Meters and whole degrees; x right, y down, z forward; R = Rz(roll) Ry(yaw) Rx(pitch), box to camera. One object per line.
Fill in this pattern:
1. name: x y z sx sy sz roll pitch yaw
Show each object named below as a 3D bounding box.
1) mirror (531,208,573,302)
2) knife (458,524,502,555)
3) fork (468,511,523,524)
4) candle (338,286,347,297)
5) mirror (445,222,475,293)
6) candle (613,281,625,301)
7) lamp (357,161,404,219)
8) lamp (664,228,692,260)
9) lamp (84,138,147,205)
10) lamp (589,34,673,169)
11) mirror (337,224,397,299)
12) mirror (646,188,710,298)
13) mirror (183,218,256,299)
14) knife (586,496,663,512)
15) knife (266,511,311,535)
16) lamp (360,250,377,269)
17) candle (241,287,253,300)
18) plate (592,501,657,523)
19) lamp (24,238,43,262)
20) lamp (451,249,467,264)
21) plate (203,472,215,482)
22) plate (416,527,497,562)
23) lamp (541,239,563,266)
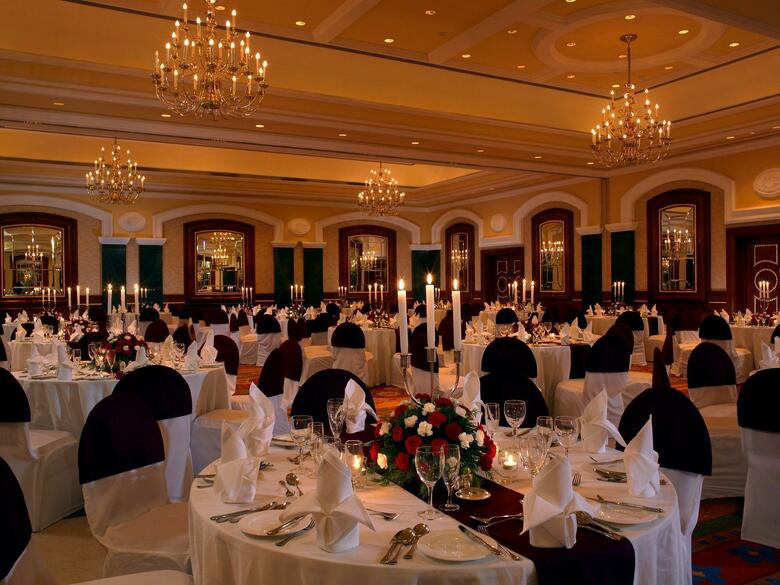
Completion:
1. mirror: 3.867 -0.961 14.307 0.134 2.115 1.282 -3 6 -33
2. knife: 0.365 1.018 2.473 0.030 0.045 0.288 -24 9 -12
3. fork: 0.464 0.991 2.651 0.235 0.043 0.038 -3 4 -22
4. candle: -1.310 -0.054 16.599 0.235 0.353 0.253 1 4 -1
5. mirror: 1.964 -1.001 17.076 0.507 2.051 1.158 -2 5 -15
6. candle: 4.779 -0.060 12.700 0.134 0.429 0.336 -3 5 -30
7. lamp: -0.193 -2.360 13.730 0.849 1.420 0.859 0 2 0
8. lamp: 5.631 -0.978 11.796 0.442 0.564 0.466 1 -1 29
9. lamp: -5.450 -2.486 11.966 1.159 1.789 1.220 2 1 -22
10. lamp: 3.505 -2.782 8.668 0.963 1.853 1.028 -4 2 16
11. mirror: -0.737 -0.932 17.438 1.921 2.576 0.157 0 1 -33
12. mirror: 5.597 -0.966 11.748 0.177 2.093 1.312 -3 5 -29
13. mirror: -4.482 -0.918 15.532 1.829 2.442 0.162 0 1 -31
14. knife: 1.065 0.961 2.734 0.375 0.032 0.060 -2 18 20
15. knife: -0.440 0.996 2.583 0.114 0.019 0.113 -22 -3 -42
16. lamp: -0.630 -1.012 17.671 0.421 0.690 0.451 0 1 -11
17. candle: -3.753 -0.011 15.755 0.261 0.383 0.083 1 6 10
18. plate: 1.036 0.978 2.631 0.259 0.030 0.178 2 5 22
19. lamp: -8.080 -1.008 13.904 0.412 0.605 0.430 1 10 -25
20. lamp: 1.983 -1.049 17.128 0.381 0.406 0.118 -2 -6 45
21. plate: -0.911 0.935 3.046 0.058 0.016 0.088 -2 5 -23
22. plate: 0.262 1.021 2.441 0.298 0.060 0.180 -1 5 -3
23. lamp: 3.860 -0.993 14.378 0.445 0.592 0.430 0 2 10
